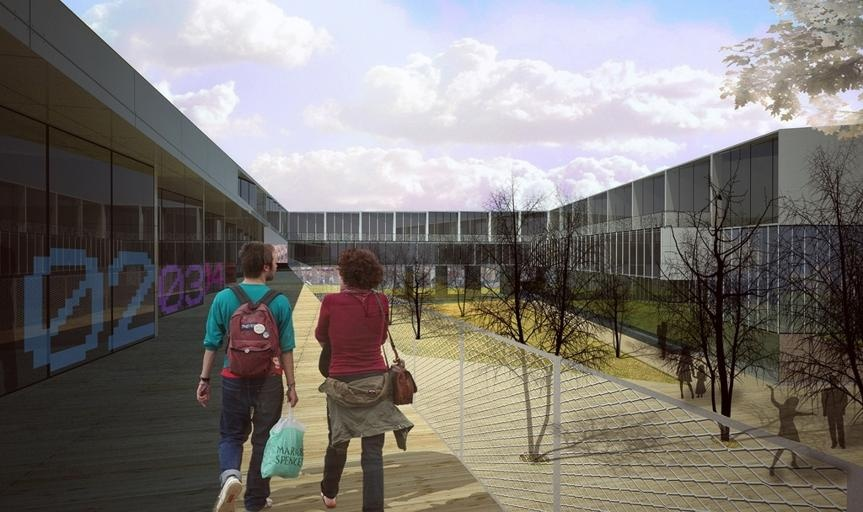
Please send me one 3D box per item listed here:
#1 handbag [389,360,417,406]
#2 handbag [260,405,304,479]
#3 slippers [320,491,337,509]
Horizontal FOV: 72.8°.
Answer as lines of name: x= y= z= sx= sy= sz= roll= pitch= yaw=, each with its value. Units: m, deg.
handbag: x=-0.530 y=2.257 z=10.468 sx=0.416 sy=0.748 sz=0.790 roll=-3 pitch=-6 yaw=-12
handbag: x=-2.622 y=3.279 z=10.240 sx=0.704 sy=1.219 sz=0.267 roll=-1 pitch=-3 yaw=-18
slippers: x=-1.869 y=4.388 z=10.548 sx=0.306 sy=0.280 sz=0.237 roll=-2 pitch=-3 yaw=3
